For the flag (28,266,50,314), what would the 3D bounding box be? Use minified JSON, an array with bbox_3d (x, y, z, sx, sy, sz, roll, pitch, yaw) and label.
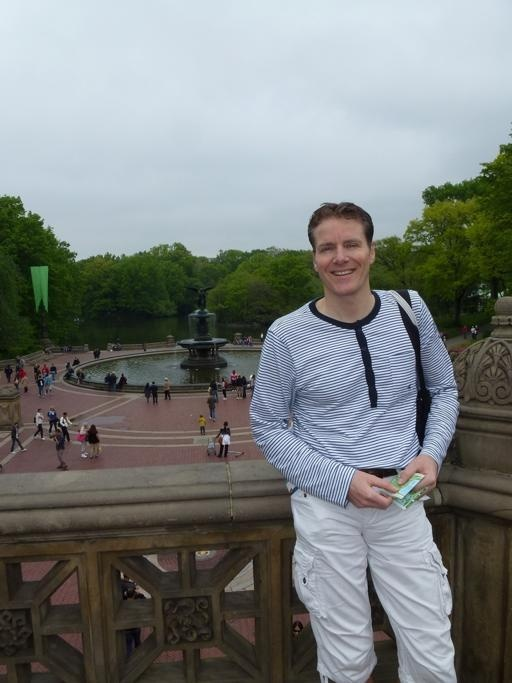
[{"bbox_3d":[-14.458,-3.606,42.809,1.158,3.080,7.688,-4,3,-18],"label":"flag"}]
